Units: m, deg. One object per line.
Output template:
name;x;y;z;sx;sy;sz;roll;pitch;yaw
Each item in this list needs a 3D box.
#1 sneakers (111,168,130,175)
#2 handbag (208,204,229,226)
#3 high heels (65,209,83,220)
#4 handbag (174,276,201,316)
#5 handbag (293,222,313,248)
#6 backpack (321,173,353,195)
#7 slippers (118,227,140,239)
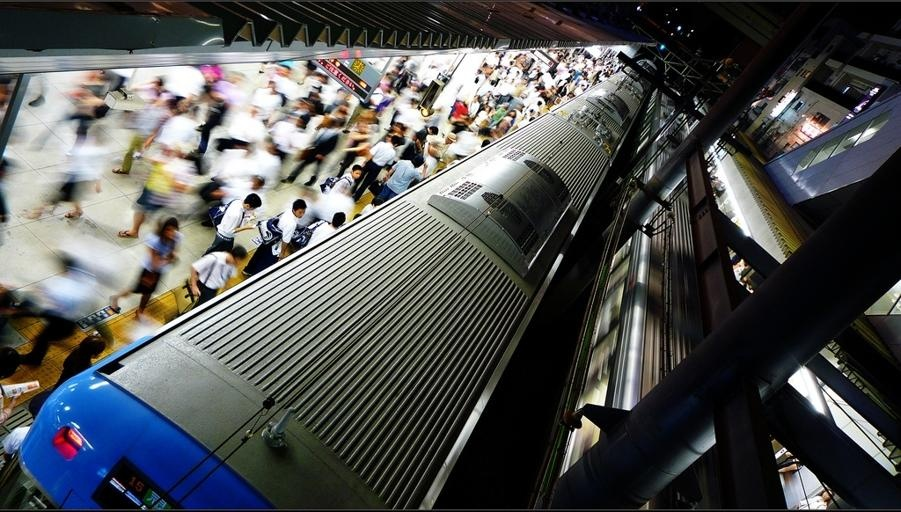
sneakers;-6.850;-1.781;8.876;0.303;0.093;0.109;0;25;-22
handbag;-4.585;-0.808;8.432;0.363;0.452;0.180;38;15;37
high heels;-6.994;-0.761;7.918;0.322;0.112;0.111;-5;34;-30
handbag;-4.581;0.729;7.436;0.216;0.446;0.620;24;28;-51
handbag;-3.111;-0.432;9.018;0.354;0.547;0.187;26;6;-10
backpack;-2.608;-1.658;9.803;0.818;0.391;0.525;4;37;2
slippers;-6.059;-0.433;8.030;0.303;0.101;0.154;12;9;-13
